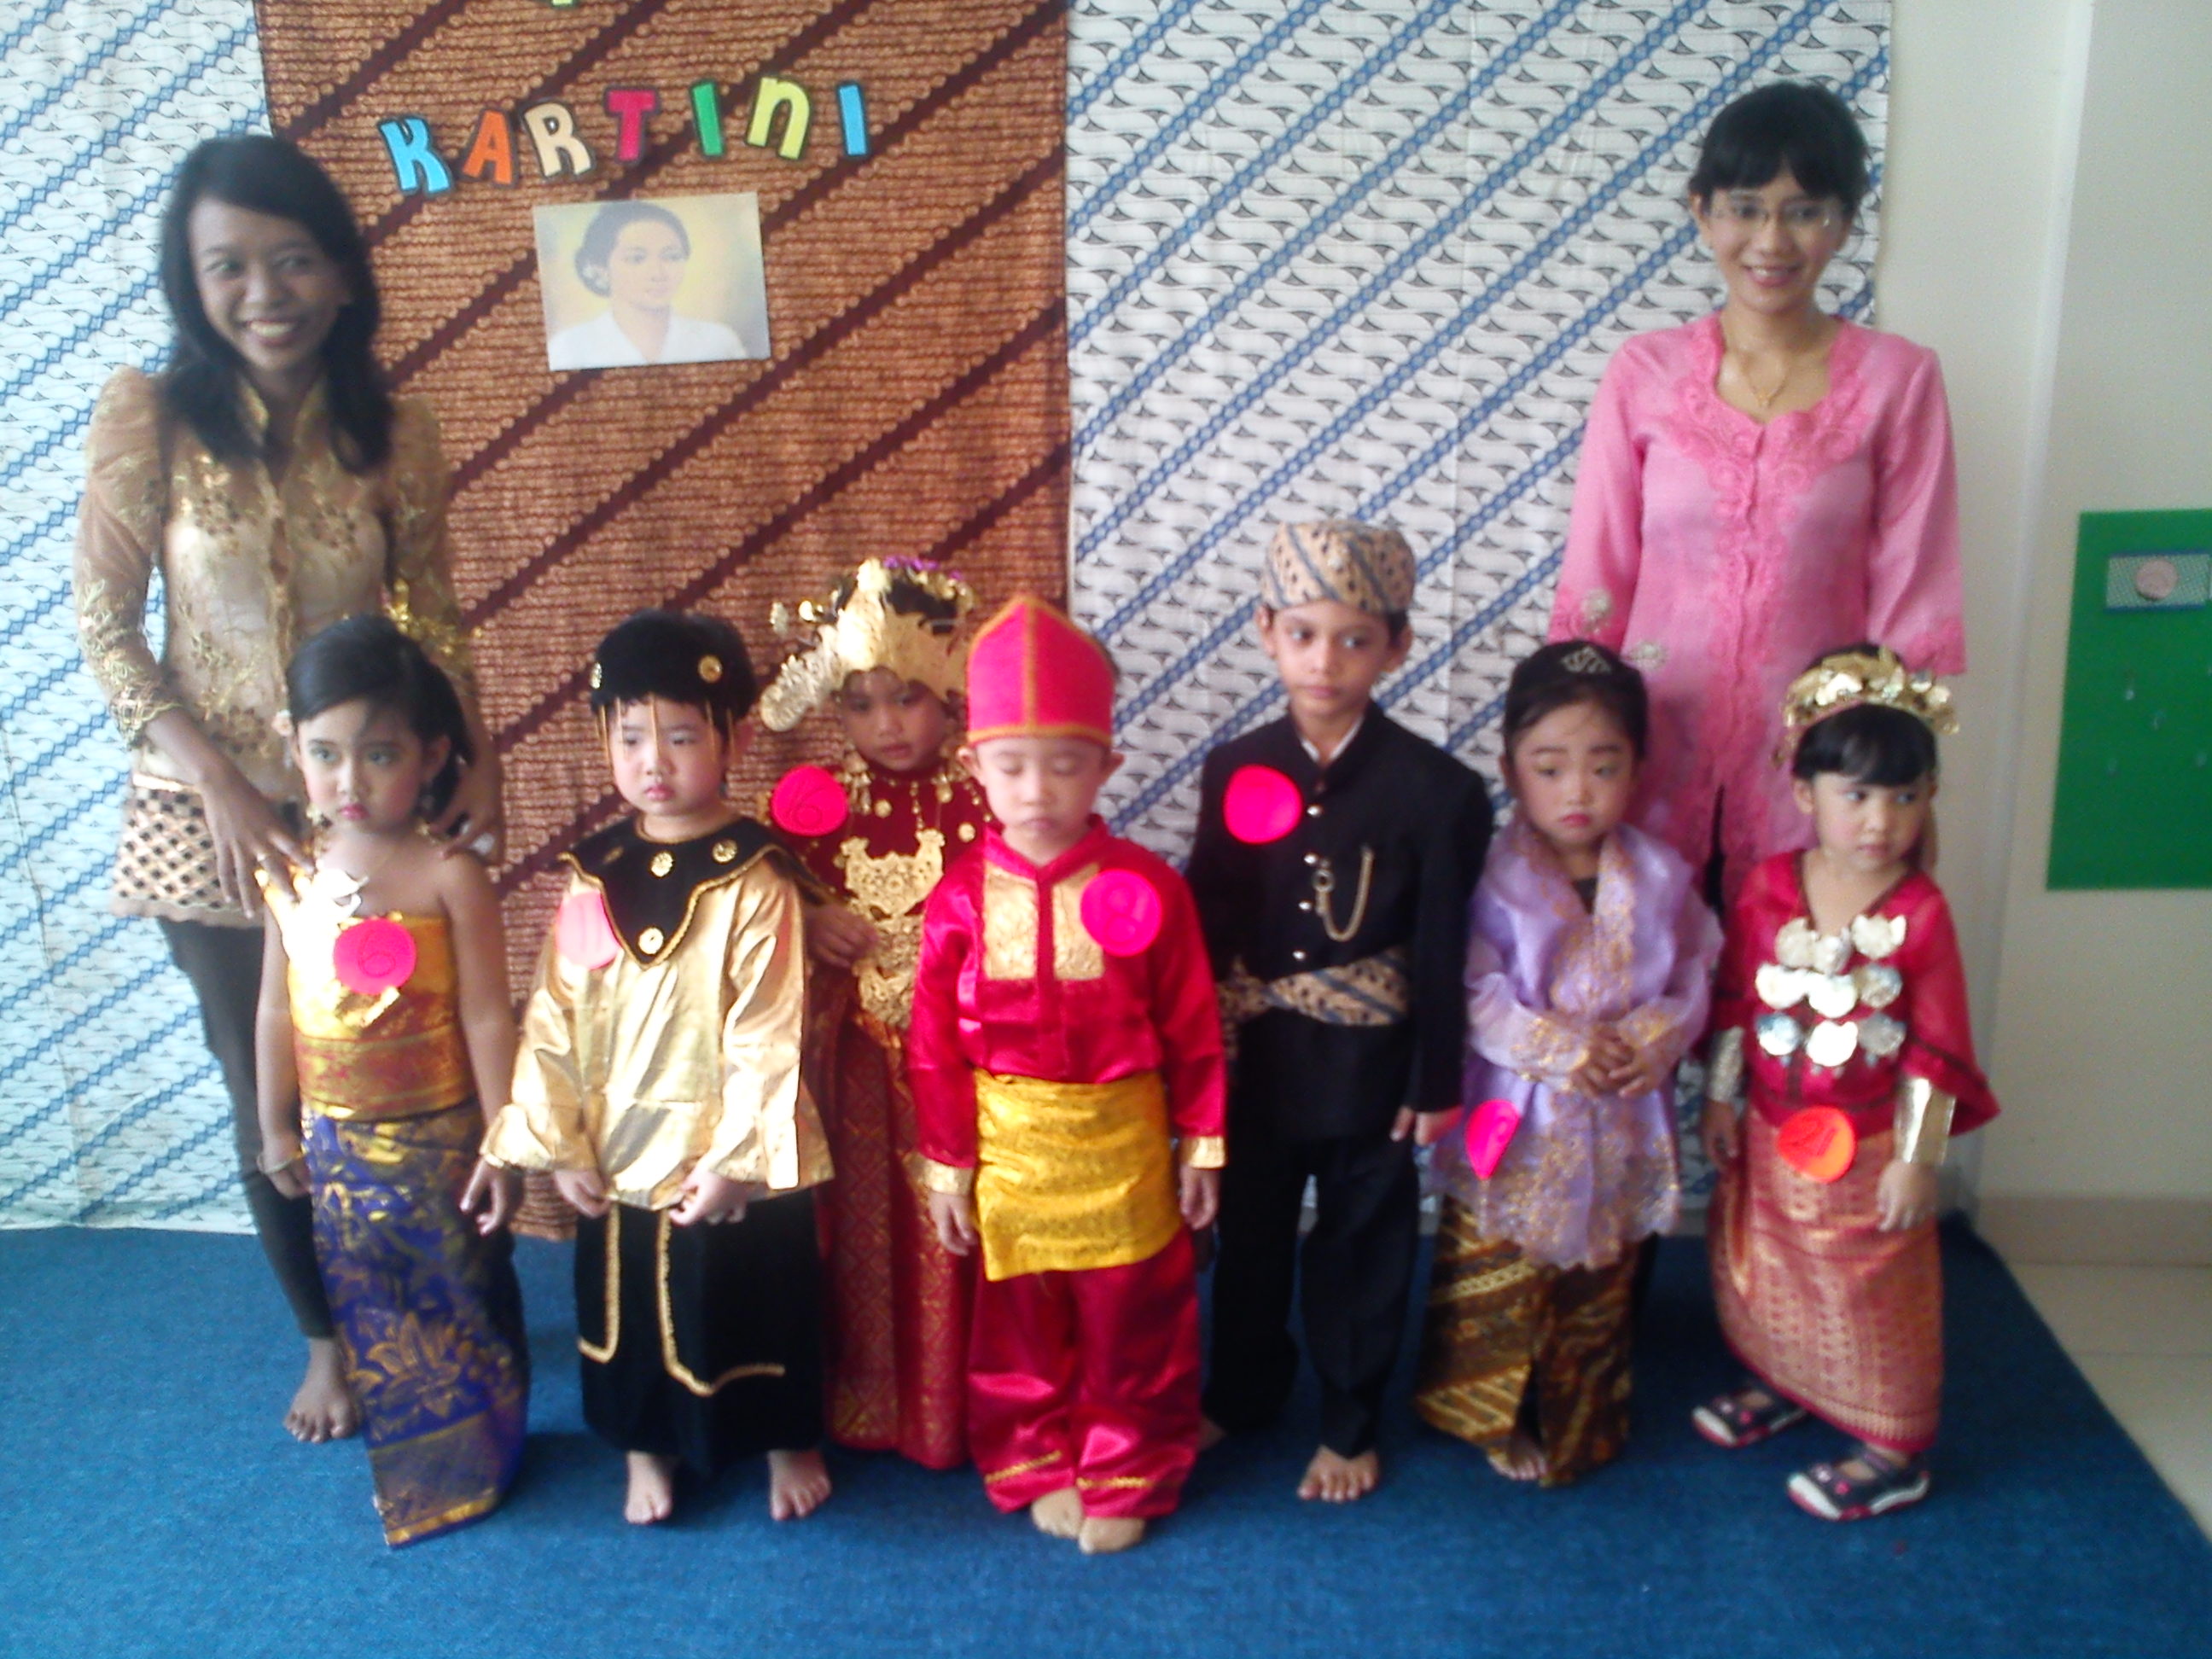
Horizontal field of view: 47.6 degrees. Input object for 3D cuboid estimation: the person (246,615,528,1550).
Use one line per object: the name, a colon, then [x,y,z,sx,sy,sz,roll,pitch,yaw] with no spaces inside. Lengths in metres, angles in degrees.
person: [-1.242,0.409,4.319,0.444,1.519,0.486,-8,15,-16]

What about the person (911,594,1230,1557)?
person: [-0.054,0.404,4.229,0.555,1.568,0.412,-5,14,-5]

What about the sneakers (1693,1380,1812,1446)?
sneakers: [1.157,1.011,4.446,0.173,0.060,0.092,-16,45,-13]

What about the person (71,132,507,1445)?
person: [-1.459,0.010,4.527,0.713,2.363,0.669,-4,15,-23]

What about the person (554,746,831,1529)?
person: [-0.742,0.473,4.259,0.528,1.405,0.358,-6,15,-7]

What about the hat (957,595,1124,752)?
hat: [-0.118,-0.257,4.122,0.224,0.200,0.246,1,12,3]

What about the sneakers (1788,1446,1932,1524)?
sneakers: [1.287,1.116,4.280,0.193,0.078,0.113,-2,32,-1]

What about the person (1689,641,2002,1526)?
person: [1.269,0.414,4.340,0.441,1.424,0.517,10,20,43]
